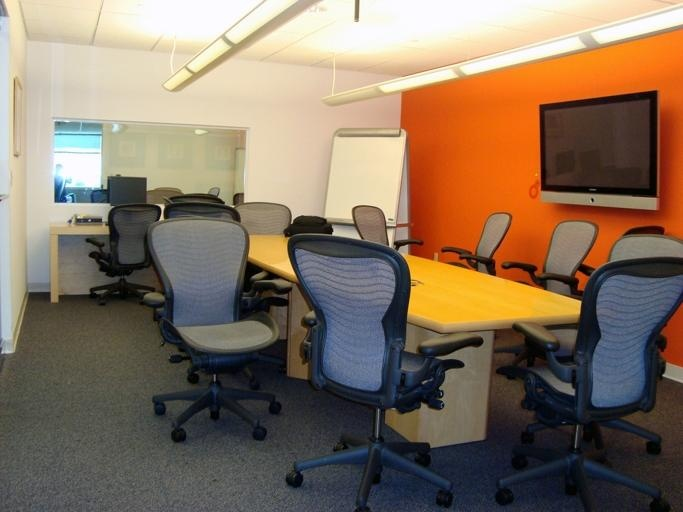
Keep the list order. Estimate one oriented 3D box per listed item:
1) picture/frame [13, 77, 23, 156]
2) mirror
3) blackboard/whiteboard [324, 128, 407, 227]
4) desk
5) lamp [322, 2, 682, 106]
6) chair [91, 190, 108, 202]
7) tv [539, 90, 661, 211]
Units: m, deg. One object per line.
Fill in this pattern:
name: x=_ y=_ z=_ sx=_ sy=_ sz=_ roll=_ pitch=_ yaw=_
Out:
picture/frame: x=-3.393 y=-1.492 z=5.725 sx=0.036 sy=0.735 sz=1.013 roll=1 pitch=13 yaw=-28
mirror: x=-2.580 y=-1.267 z=7.452 sx=2.422 sy=1.081 sz=0.194 roll=-2 pitch=13 yaw=-21
blackboard/whiteboard: x=0.384 y=-1.105 z=7.716 sx=1.433 sy=1.637 sz=0.598 roll=6 pitch=-5 yaw=15
desk: x=-3.287 y=0.042 z=7.034 sx=0.952 sy=0.937 sz=0.906 roll=-1 pitch=4 yaw=-23
lamp: x=1.228 y=-1.684 z=4.758 sx=0.292 sy=0.325 sz=3.380 roll=-5 pitch=14 yaw=-32
chair: x=-3.222 y=-0.801 z=7.294 sx=0.187 sy=0.208 sz=0.185 roll=-3 pitch=12 yaw=-26
tv: x=2.568 y=-1.044 z=5.364 sx=0.105 sy=1.117 sz=1.364 roll=-4 pitch=5 yaw=-32
